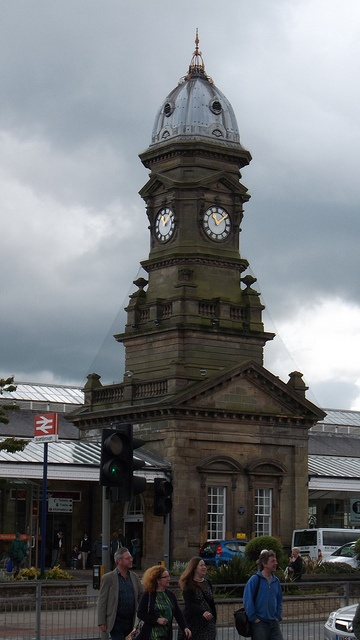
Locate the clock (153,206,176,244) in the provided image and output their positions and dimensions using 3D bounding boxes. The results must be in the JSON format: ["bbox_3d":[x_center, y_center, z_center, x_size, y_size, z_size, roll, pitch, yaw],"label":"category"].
[{"bbox_3d":[-0.605,-3.558,46.889,0.126,1.671,1.350,8,-9,-30],"label":"clock"}]

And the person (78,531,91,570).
[{"bbox_3d":[-3.386,7.984,43.776,0.344,1.026,1.221,3,-2,-4],"label":"person"}]

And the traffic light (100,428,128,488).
[{"bbox_3d":[-0.936,1.923,17.581,0.371,0.662,0.298,3,-1,-2],"label":"traffic light"}]

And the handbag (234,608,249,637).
[{"bbox_3d":[0.799,3.965,16.471,0.224,0.308,0.612,3,-2,2],"label":"handbag"}]

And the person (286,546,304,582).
[{"bbox_3d":[2.809,5.960,30.933,0.366,0.614,1.050,3,-2,5],"label":"person"}]

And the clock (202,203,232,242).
[{"bbox_3d":[1.262,-3.609,46.546,0.084,1.252,1.242,-13,7,38],"label":"clock"}]
